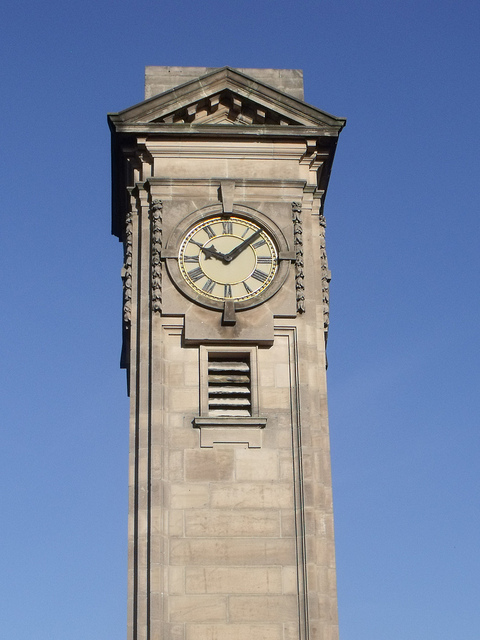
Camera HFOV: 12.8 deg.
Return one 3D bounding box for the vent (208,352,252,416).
[{"bbox_3d":[-0.279,1.938,55.514,1.040,0.316,2.270,0,-68,4],"label":"vent"}]
